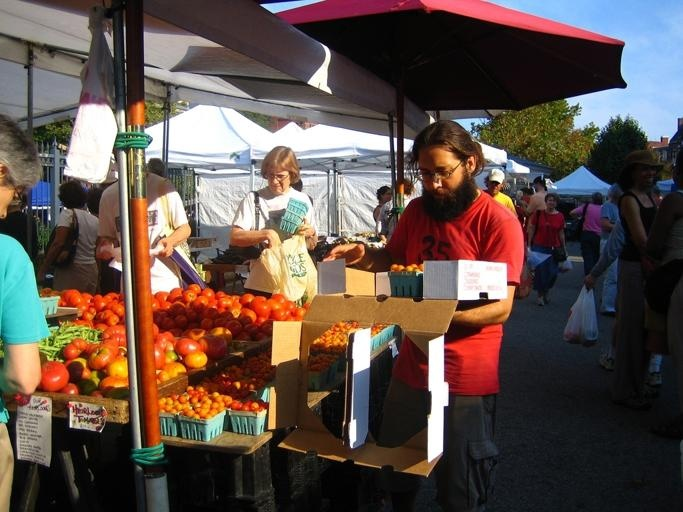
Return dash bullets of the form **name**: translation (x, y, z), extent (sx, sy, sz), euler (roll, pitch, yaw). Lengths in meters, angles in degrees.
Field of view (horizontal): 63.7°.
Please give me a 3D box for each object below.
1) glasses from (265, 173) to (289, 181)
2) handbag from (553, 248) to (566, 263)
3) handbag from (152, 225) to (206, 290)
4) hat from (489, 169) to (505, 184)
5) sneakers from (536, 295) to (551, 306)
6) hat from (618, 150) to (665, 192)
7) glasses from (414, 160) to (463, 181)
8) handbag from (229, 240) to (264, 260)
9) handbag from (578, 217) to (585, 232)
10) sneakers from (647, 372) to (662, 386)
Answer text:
- **glasses**: translation (-0.589, -0.713, 5.042), extent (0.209, 0.061, 0.115), euler (2, 7, 5)
- **handbag**: translation (4.382, -0.012, 11.074), extent (0.114, 0.284, 0.268), euler (-3, 1, 43)
- **handbag**: translation (-1.516, 0.045, 5.111), extent (0.124, 0.507, 0.504), euler (-41, 36, -17)
- **hat**: translation (2.576, -1.298, 9.124), extent (0.229, 0.211, 0.387), euler (5, 7, 10)
- **sneakers**: translation (4.115, 0.942, 11.223), extent (0.142, 0.209, 0.469), euler (-12, -19, 25)
- **hat**: translation (2.933, -0.882, 5.508), extent (0.331, 0.262, 0.474), euler (3, -26, -9)
- **glasses**: translation (0.562, -0.483, 3.183), extent (0.281, 0.134, 0.163), euler (5, 8, 27)
- **handbag**: translation (-1.525, -0.054, 8.617), extent (0.471, 0.200, 0.492), euler (1, 2, 11)
- **handbag**: translation (5.255, -0.671, 12.078), extent (0.068, 0.290, 0.195), euler (2, -6, 15)
- **sneakers**: translation (3.579, 1.402, 6.321), extent (0.146, 0.158, 0.149), euler (2, -2, -26)
